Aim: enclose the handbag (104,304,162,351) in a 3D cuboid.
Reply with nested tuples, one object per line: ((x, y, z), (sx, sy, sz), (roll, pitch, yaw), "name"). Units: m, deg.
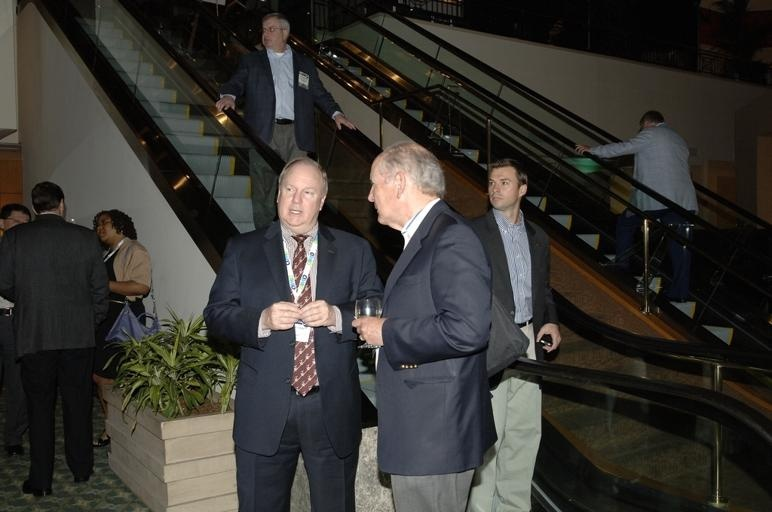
((-2.221, 0.631, 5.087), (0.480, 0.442, 0.220), (7, -4, -36), "handbag")

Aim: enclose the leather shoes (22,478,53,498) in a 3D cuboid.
((-2.786, 1.870, 4.685), (0.206, 0.091, 0.118), (22, 24, 14), "leather shoes")

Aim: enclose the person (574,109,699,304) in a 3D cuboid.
((2.916, -0.593, 6.536), (0.965, 2.284, 0.786), (0, 0, 29), "person")

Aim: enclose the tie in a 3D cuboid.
((-0.468, 0.337, 3.383), (0.142, 0.841, 0.200), (0, 0, -9), "tie")

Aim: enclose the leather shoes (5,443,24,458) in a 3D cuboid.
((-3.373, 1.770, 5.312), (0.189, 0.119, 0.109), (8, -31, -20), "leather shoes")
